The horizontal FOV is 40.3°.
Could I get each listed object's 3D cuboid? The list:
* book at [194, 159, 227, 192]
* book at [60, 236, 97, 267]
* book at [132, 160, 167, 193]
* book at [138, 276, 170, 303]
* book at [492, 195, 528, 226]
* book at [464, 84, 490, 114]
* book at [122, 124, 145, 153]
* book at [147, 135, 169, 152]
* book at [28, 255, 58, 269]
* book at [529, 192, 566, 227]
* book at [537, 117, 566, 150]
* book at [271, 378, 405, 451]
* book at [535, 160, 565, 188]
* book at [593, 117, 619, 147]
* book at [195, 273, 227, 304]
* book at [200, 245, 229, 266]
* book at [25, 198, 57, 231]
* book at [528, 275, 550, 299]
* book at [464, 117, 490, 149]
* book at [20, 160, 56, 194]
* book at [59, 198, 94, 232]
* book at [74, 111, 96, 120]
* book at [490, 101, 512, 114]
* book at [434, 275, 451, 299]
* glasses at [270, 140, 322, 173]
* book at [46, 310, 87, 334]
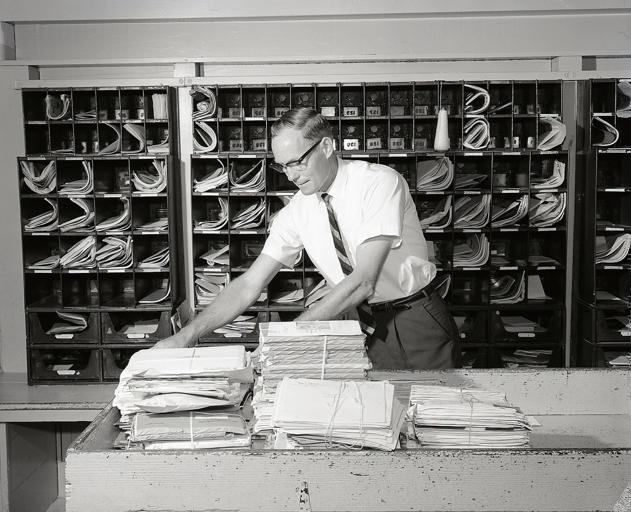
[{"bbox_3d":[-0.684,-0.505,5.680,0.236,0.094,0.195,-21,22,-3],"label":"book"},{"bbox_3d":[-1.539,-0.025,5.556,0.240,0.204,0.077,-3,5,-10],"label":"book"},{"bbox_3d":[-1.098,-0.521,5.671,0.230,0.104,0.235,-3,29,-21],"label":"book"},{"bbox_3d":[-1.072,0.222,5.787,0.145,0.069,0.187,-8,6,0],"label":"book"},{"bbox_3d":[1.281,-0.300,5.688,0.248,0.203,0.258,-2,5,11],"label":"book"},{"bbox_3d":[1.045,-1.026,5.608,0.193,0.155,0.072,13,10,12],"label":"book"},{"bbox_3d":[-1.164,-0.782,5.668,0.071,0.190,0.183,-19,9,-9],"label":"book"},{"bbox_3d":[-1.054,-0.754,5.760,0.140,0.049,0.114,-3,-3,-4],"label":"book"},{"bbox_3d":[-1.771,0.040,5.693,0.187,0.070,0.260,-3,5,1],"label":"book"},{"bbox_3d":[1.525,-0.307,5.665,0.208,0.225,0.081,-1,8,6],"label":"book"},{"bbox_3d":[1.542,-0.798,5.615,0.088,0.209,0.206,11,18,-41],"label":"book"},{"bbox_3d":[0.072,0.577,3.229,0.350,0.115,0.272,1,20,5],"label":"book"},{"bbox_3d":[1.555,-0.558,5.698,0.147,0.151,0.199,-13,8,15],"label":"book"},{"bbox_3d":[1.898,-0.819,5.660,0.186,0.198,0.072,24,38,30],"label":"book"},{"bbox_3d":[-0.661,0.204,5.820,0.275,0.228,0.097,4,-2,-1],"label":"book"},{"bbox_3d":[-0.654,0.002,5.777,0.152,0.065,0.159,3,9,25],"label":"book"},{"bbox_3d":[-1.777,-0.267,5.596,0.230,0.096,0.172,-11,17,-13],"label":"book"},{"bbox_3d":[1.505,0.218,5.864,0.147,0.152,0.142,-3,-7,1],"label":"book"},{"bbox_3d":[1.054,-0.801,5.602,0.159,0.202,0.070,3,15,8],"label":"book"},{"bbox_3d":[-1.791,-0.501,5.574,0.191,0.238,0.091,-3,-11,-14],"label":"book"},{"bbox_3d":[-1.522,-0.252,5.557,0.207,0.222,0.085,-10,11,-3],"label":"book"},{"bbox_3d":[-1.504,-0.924,5.624,0.139,0.070,0.234,-4,5,-16],"label":"book"},{"bbox_3d":[1.220,-0.975,5.635,0.091,0.029,0.091,-13,3,-44],"label":"book"},{"bbox_3d":[0.804,0.196,5.442,0.041,0.160,0.116,18,-13,-26],"label":"book"},{"bbox_3d":[-0.084,-0.485,3.764,0.166,0.045,0.160,-44,12,-28],"label":"glasses"},{"bbox_3d":[-1.633,0.429,5.686,0.268,0.144,0.262,-3,5,-10],"label":"book"}]
